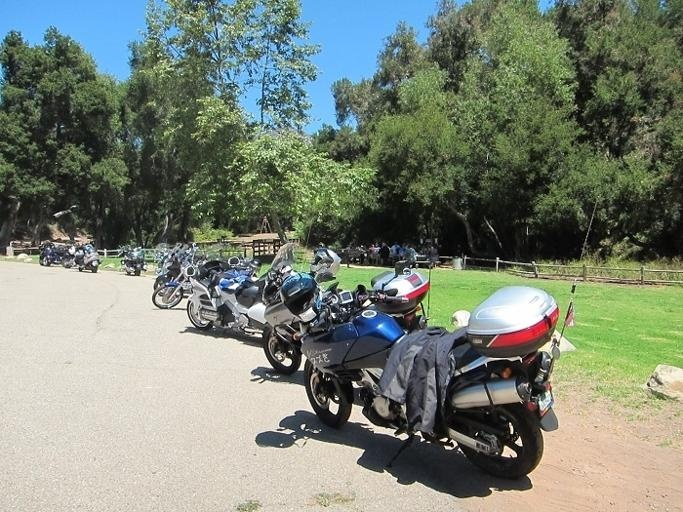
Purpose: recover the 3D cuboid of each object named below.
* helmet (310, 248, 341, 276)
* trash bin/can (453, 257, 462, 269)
[{"bbox_3d":[-0.263,0.073,7.685,0.421,0.400,0.352,10,4,8],"label":"helmet"},{"bbox_3d":[7.463,0.505,32.301,0.590,0.733,0.624,0,-6,6],"label":"trash bin/can"}]
